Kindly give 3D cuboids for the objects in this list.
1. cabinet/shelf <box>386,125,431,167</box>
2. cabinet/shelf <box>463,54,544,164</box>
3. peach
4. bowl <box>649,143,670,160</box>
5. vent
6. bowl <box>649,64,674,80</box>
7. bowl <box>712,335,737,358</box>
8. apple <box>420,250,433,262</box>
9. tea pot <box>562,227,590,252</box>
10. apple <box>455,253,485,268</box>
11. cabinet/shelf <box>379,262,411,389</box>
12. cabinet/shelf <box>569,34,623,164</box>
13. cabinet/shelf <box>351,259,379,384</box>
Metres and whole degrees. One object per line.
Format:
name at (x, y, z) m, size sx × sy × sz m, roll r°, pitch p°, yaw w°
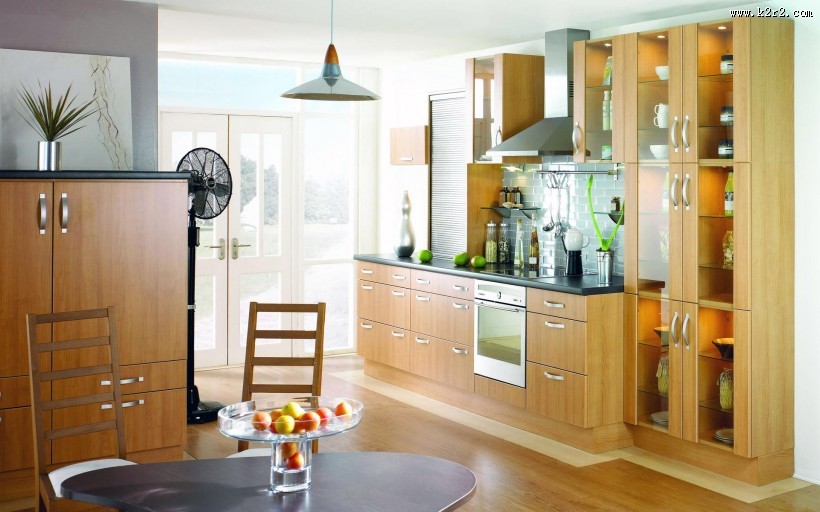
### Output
cabinet/shelf at (-0.005, -1.293, 7.472) m, size 0.156 × 0.432 × 0.668 m, roll -8°, pitch 12°, yaw -36°
cabinet/shelf at (0.938, -1.435, 6.470) m, size 0.429 × 1.048 × 0.814 m, roll -4°, pitch 9°, yaw -34°
peach at (-0.540, 0.826, 3.180) m, size 0.371 × 0.219 × 0.365 m, roll -1°, pitch 0°, yaw -35°
bowl at (2.045, -0.856, 5.242) m, size 0.129 × 0.083 × 0.126 m, roll 0°, pitch 3°, yaw 0°
vent at (1.358, -1.524, 6.027) m, size 0.591 × 1.109 × 1.204 m, roll -3°, pitch 8°, yaw -31°
bowl at (2.048, -1.484, 5.180) m, size 0.121 × 0.079 × 0.117 m, roll 0°, pitch 2°, yaw 0°
bowl at (2.433, 0.701, 4.954) m, size 0.147 × 0.097 × 0.156 m, roll 0°, pitch 3°, yaw 0°
apple at (0.178, 0.001, 6.844) m, size 0.125 × 0.112 × 0.126 m, roll -6°, pitch 2°, yaw -1°
tea pot at (1.535, -0.161, 5.927) m, size 0.259 × 0.197 × 0.184 m, roll 1°, pitch -2°, yaw -16°
apple at (0.627, 0.050, 6.535) m, size 0.140 × 0.123 × 0.289 m, roll 3°, pitch -4°, yaw -40°
cabinet/shelf at (-0.132, 0.663, 6.892) m, size 0.121 × 1.060 × 0.470 m, roll -7°, pitch 12°, yaw -34°
cabinet/shelf at (1.654, -1.350, 5.571) m, size 0.149 × 1.053 × 0.556 m, roll -8°, pitch 13°, yaw -37°
cabinet/shelf at (-0.512, 0.731, 7.314) m, size 0.175 × 1.328 × 0.461 m, roll -3°, pitch 11°, yaw -17°
